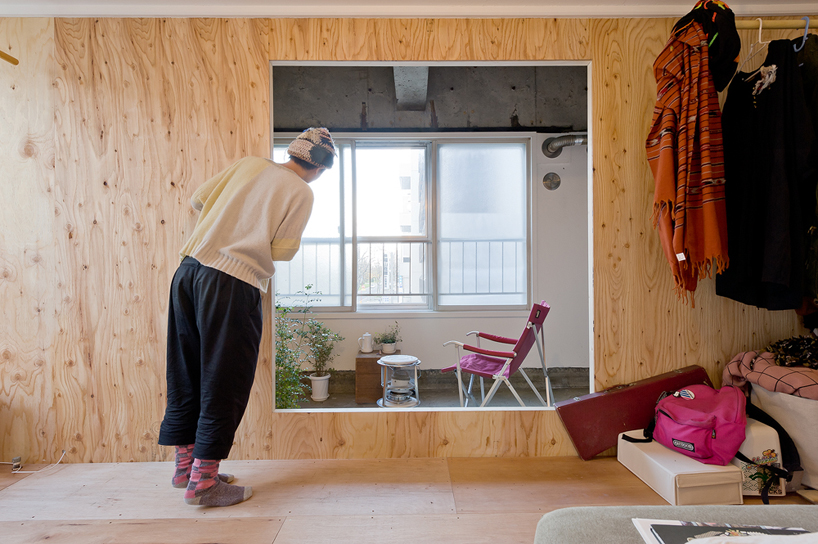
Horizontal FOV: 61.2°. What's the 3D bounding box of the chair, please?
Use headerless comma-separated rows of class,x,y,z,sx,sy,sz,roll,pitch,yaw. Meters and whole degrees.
chair,0.747,0.761,5.626,0.941,0.986,0.801,-1,3,6

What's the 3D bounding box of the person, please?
person,-1.018,0.244,4.177,0.951,2.302,0.335,1,-2,-8

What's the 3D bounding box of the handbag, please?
handbag,1.780,0.858,4.230,0.464,0.327,0.475,3,7,34

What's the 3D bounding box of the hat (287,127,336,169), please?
hat,-0.579,-0.756,4.324,0.229,0.217,0.277,16,7,25

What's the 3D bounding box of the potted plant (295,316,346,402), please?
potted plant,-0.863,0.873,6.789,0.481,0.779,0.501,-7,-9,24

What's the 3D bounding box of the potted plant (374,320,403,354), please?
potted plant,-0.184,0.669,6.836,0.282,0.291,0.229,1,2,44

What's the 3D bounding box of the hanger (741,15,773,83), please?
hanger,2.223,-1.510,4.428,0.166,0.357,0.402,0,-2,27

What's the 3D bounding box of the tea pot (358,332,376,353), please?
tea pot,-0.404,0.706,6.786,0.174,0.193,0.127,-1,-1,4
